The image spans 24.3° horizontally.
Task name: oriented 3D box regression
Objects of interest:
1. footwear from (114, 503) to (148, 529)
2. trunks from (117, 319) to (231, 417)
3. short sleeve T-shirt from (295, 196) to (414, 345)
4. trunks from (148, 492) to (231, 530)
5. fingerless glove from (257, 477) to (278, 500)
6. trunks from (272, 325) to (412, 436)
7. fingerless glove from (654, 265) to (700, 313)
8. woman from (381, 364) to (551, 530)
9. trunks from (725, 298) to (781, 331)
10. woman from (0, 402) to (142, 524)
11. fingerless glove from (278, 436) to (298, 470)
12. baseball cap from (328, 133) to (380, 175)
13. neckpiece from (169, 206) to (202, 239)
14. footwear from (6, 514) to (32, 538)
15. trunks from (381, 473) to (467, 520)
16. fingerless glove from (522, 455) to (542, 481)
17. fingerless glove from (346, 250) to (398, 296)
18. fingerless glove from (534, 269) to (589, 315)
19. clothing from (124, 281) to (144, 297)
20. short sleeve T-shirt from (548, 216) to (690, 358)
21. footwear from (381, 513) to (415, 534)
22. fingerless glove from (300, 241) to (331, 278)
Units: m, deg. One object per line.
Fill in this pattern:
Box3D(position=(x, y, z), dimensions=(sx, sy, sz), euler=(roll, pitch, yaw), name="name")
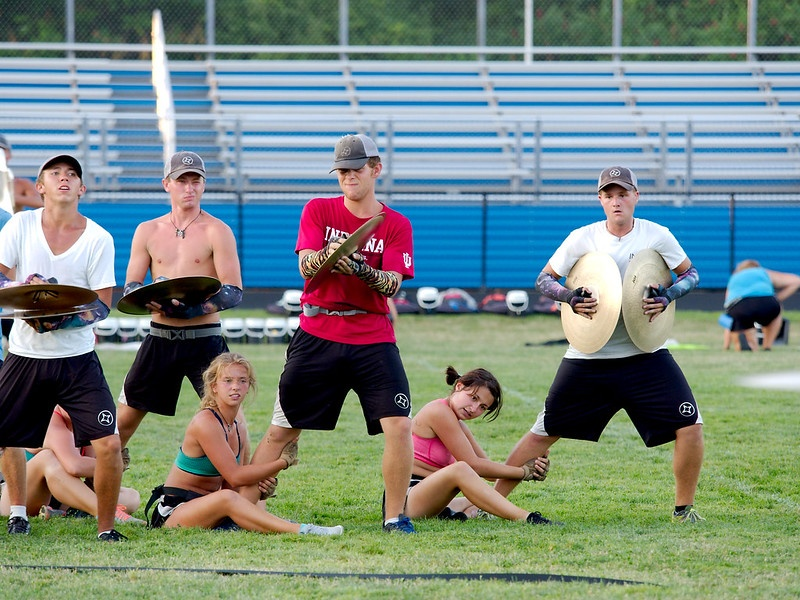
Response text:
Box3D(position=(-3.105, 2.481, 21.463), dimensions=(0.479, 0.185, 0.155), euler=(2, -2, 14), name="footwear")
Box3D(position=(-2.531, 0.783, 21.788), dimensions=(1.589, 0.987, 0.581), euler=(-1, 1, 11), name="trunks")
Box3D(position=(-0.520, -0.376, 21.548), dimensions=(1.459, 1.592, 0.927), euler=(8, 17, 17), name="short sleeve T-shirt")
Box3D(position=(-2.497, 2.353, 21.307), dimensions=(0.723, 0.306, 0.509), euler=(7, 5, 5), name="trunks")
Box3D(position=(-1.548, 2.185, 21.432), dimensions=(0.212, 0.130, 0.267), euler=(-34, -16, -32), name="fingerless glove")
Box3D(position=(-0.769, 0.859, 21.590), dimensions=(1.900, 1.240, 0.742), euler=(1, -9, -36), name="trunks")
Box3D(position=(3.255, -0.161, 21.785), dimensions=(0.872, 0.303, 0.280), euler=(-21, 38, -34), name="fingerless glove")
Box3D(position=(1.024, 1.767, 21.816), dimensions=(2.121, 1.884, 1.285), euler=(6, 1, 26), name="woman")
Box3D(position=(5.785, 0.185, 30.064), dimensions=(0.828, 0.535, 0.558), euler=(-6, 10, -1), name="trunks")
Box3D(position=(-3.963, 1.911, 21.552), dimensions=(1.727, 1.530, 1.158), euler=(0, -8, 10), name="woman")
Box3D(position=(-1.274, 1.750, 21.445), dimensions=(0.109, 0.319, 0.265), euler=(38, -6, 35), name="fingerless glove")
Box3D(position=(-0.541, -1.694, 21.342), dimensions=(0.548, 0.387, 0.295), euler=(-1, 15, -2), name="baseball cap")
Box3D(position=(-2.539, -0.906, 21.785), dimensions=(0.351, 0.314, 0.090), euler=(3, -17, -2), name="neckpiece")
Box3D(position=(-4.364, 2.558, 21.092), dimensions=(0.256, 0.178, 0.443), euler=(2, -2, -15), name="footwear")
Box3D(position=(0.295, 2.370, 21.662), dimensions=(0.891, 0.400, 0.507), euler=(28, -25, -16), name="trunks")
Box3D(position=(1.545, 1.958, 21.640), dimensions=(0.270, 0.230, 0.199), euler=(0, -2, 7), name="fingerless glove")
Box3D(position=(-0.309, -0.312, 21.177), dimensions=(0.800, 0.255, 0.375), euler=(13, -23, -20), name="fingerless glove")
Box3D(position=(1.896, -0.064, 21.838), dimensions=(0.649, 0.346, 0.173), euler=(27, -23, 27), name="fingerless glove")
Box3D(position=(-3.109, -0.159, 21.489), dimensions=(0.154, 0.176, 0.188), euler=(3, -34, -18), name="clothing")
Box3D(position=(2.564, -0.173, 21.993), dimensions=(1.760, 1.562, 0.454), euler=(-7, 2, -5), name="short sleeve T-shirt")
Box3D(position=(-0.017, 2.530, 21.121), dimensions=(0.377, 0.179, 0.192), euler=(-1, 14, 0), name="footwear")
Box3D(position=(-0.959, -0.507, 21.244), dimensions=(0.254, 0.442, 0.187), euler=(-10, -42, 30), name="fingerless glove")
